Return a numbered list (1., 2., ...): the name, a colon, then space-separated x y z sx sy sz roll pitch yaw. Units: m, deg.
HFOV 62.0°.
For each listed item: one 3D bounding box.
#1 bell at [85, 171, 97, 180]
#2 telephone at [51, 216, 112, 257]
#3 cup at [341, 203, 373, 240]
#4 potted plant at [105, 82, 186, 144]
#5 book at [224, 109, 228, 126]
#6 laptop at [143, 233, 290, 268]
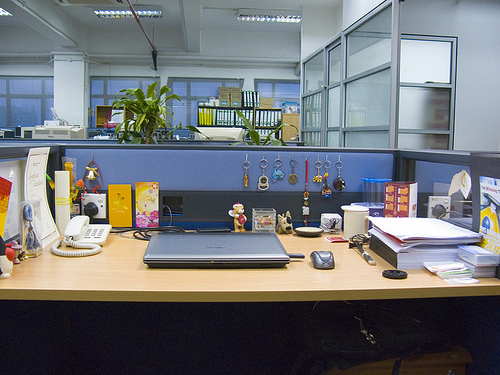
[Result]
1. bell: -0.808 -0.061 2.104 0.040 0.046 0.040 -1 4 -40
2. telephone: -0.755 0.207 1.873 0.198 0.084 0.342 3 13 -7
3. cup: 0.513 0.174 1.990 0.148 0.157 0.177 3 9 18
4. potted plant: -0.705 -0.492 2.885 0.468 0.409 0.402 2 10 -29
5. book: -0.451 -1.327 7.930 0.049 0.266 0.047 -1 8 -4
6. laptop: -0.141 0.269 1.787 0.590 0.087 0.272 0 8 -3
